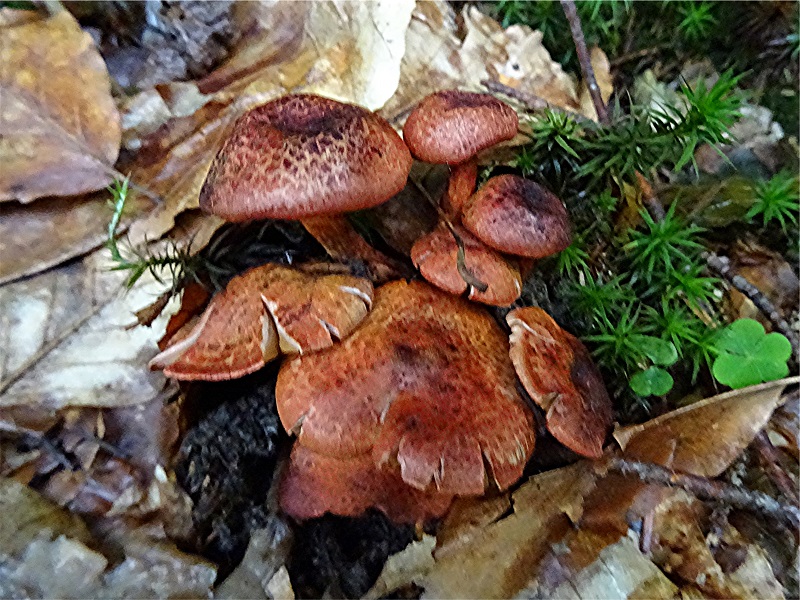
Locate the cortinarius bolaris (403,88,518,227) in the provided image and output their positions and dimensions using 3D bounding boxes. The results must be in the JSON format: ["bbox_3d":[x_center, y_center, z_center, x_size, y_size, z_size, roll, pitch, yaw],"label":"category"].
[{"bbox_3d":[0.283,-0.869,3.450,0.543,0.140,0.367,-27,81,-4],"label":"cortinarius bolaris"}]

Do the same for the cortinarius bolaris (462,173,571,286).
[{"bbox_3d":[0.595,-0.457,3.578,0.581,0.151,0.552,32,56,23],"label":"cortinarius bolaris"}]

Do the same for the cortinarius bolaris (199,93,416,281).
[{"bbox_3d":[-0.448,-0.646,3.308,0.960,0.206,0.664,10,81,3],"label":"cortinarius bolaris"}]

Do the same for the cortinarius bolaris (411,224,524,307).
[{"bbox_3d":[0.313,-0.160,3.489,0.404,0.115,0.407,-28,60,-38],"label":"cortinarius bolaris"}]
